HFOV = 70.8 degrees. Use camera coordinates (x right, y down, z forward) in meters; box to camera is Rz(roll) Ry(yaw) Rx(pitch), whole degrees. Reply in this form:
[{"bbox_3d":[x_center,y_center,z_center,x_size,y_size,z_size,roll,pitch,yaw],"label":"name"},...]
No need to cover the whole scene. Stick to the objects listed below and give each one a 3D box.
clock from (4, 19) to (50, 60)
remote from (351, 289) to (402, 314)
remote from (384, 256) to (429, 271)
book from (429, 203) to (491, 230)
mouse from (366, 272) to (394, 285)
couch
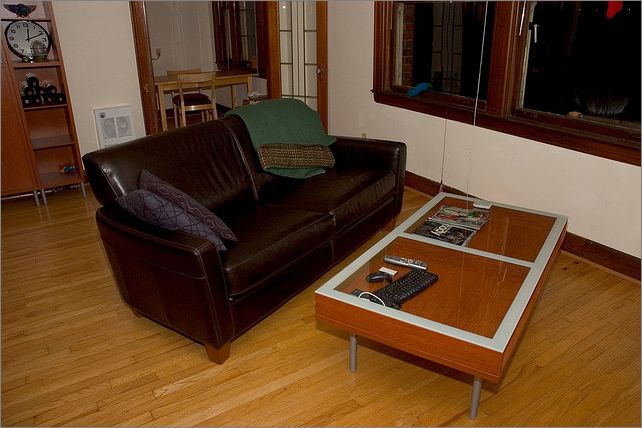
[{"bbox_3d":[-3.010,-1.800,4.647,0.398,0.356,0.246,-16,28,-22],"label":"clock"},{"bbox_3d":[0.317,0.494,2.622,0.302,0.041,0.088,12,30,31],"label":"remote"},{"bbox_3d":[0.551,0.297,2.881,0.229,0.037,0.096,11,26,22],"label":"remote"},{"bbox_3d":[1.027,0.024,3.317,0.247,0.033,0.251,11,31,27],"label":"book"},{"bbox_3d":[0.363,0.389,2.779,0.115,0.029,0.070,-4,31,-9],"label":"mouse"},{"bbox_3d":[-0.430,-0.138,3.804,1.288,1.170,2.617,19,31,32],"label":"couch"}]
